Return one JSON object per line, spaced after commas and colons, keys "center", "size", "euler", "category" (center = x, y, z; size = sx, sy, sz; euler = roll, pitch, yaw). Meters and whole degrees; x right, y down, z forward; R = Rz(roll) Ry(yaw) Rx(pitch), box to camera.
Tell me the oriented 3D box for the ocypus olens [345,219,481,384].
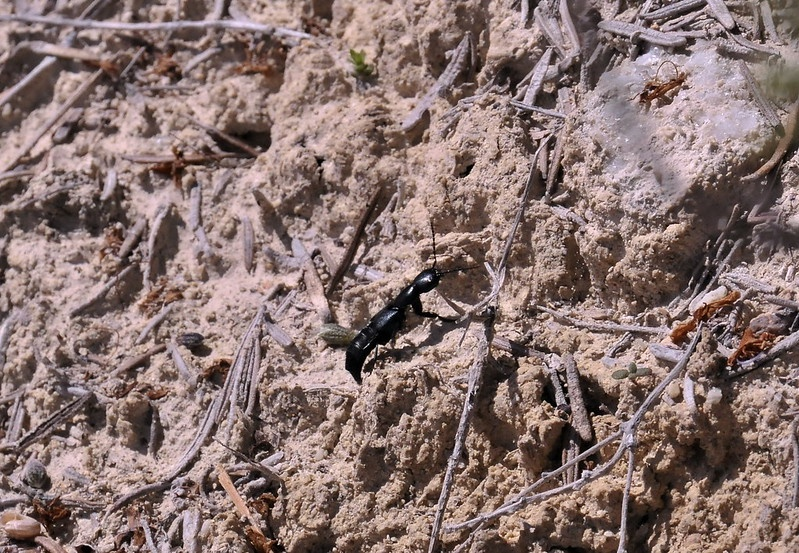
{"center": [0.011, 0.180, 6.789], "size": [0.935, 0.434, 0.335], "euler": [-34, 32, -12], "category": "ocypus olens"}
